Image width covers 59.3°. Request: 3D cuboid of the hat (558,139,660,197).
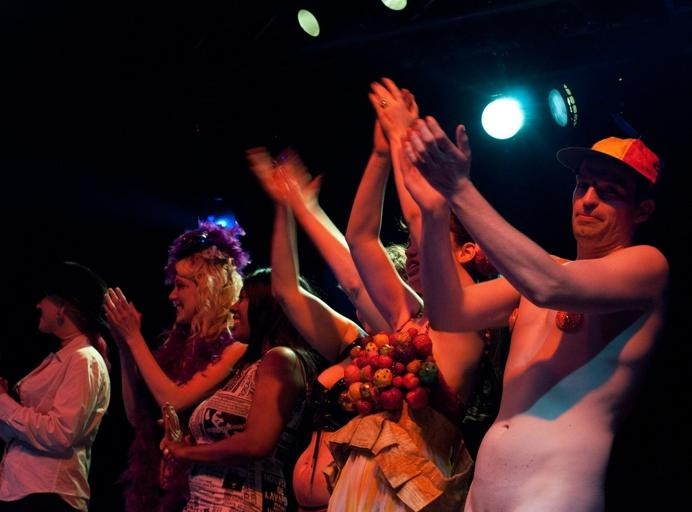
[{"bbox_3d":[1.051,-0.370,2.406,0.336,0.170,0.239,30,-1,-10],"label":"hat"}]
